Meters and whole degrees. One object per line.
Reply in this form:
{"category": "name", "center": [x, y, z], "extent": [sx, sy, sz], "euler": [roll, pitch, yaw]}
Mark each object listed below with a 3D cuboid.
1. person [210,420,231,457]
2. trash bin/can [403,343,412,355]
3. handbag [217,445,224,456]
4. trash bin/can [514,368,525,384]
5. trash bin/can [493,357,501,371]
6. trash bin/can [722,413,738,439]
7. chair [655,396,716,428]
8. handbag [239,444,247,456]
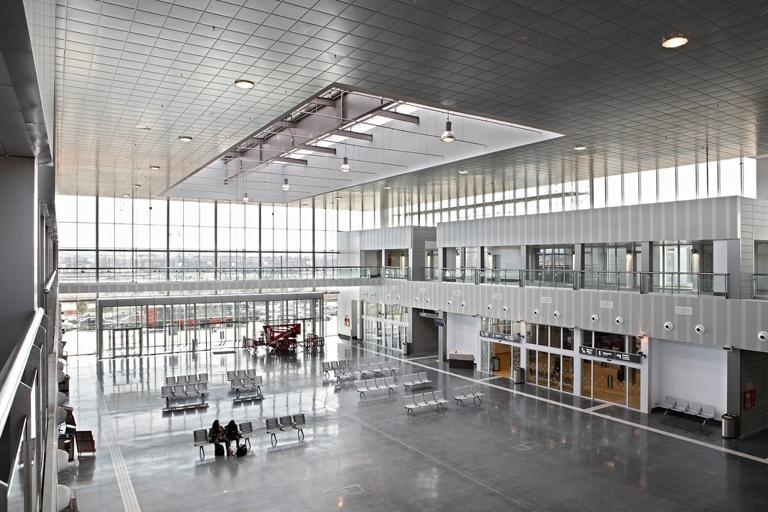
{"category": "person", "center": [-5.939, 6.587, 19.184], "extent": [0.664, 1.050, 1.001], "euler": [-3, 4, -26]}
{"category": "trash bin/can", "center": [1.639, 6.147, 35.201], "extent": [0.589, 0.757, 0.300], "euler": [-1, 4, -5]}
{"category": "handbag", "center": [-5.871, 6.953, 18.995], "extent": [0.309, 0.328, 0.355], "euler": [-2, 4, -17]}
{"category": "trash bin/can", "center": [7.143, 6.251, 27.811], "extent": [0.577, 0.799, 0.515], "euler": [0, 4, 11]}
{"category": "trash bin/can", "center": [6.464, 6.136, 30.015], "extent": [0.356, 0.764, 0.214], "euler": [-1, 5, 0]}
{"category": "trash bin/can", "center": [12.982, 6.365, 19.793], "extent": [0.556, 0.863, 0.389], "euler": [-4, 5, -36]}
{"category": "chair", "center": [12.638, 6.366, 22.021], "extent": [0.547, 0.779, 2.136], "euler": [-3, 4, -33]}
{"category": "handbag", "center": [-5.067, 6.976, 19.014], "extent": [0.361, 0.298, 0.381], "euler": [-1, 3, -13]}
